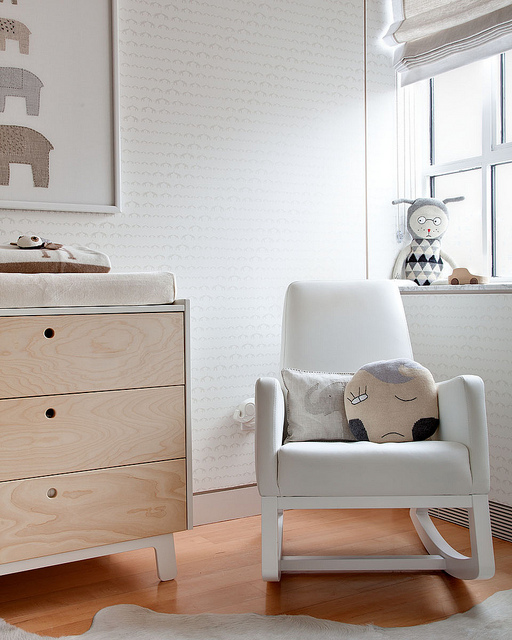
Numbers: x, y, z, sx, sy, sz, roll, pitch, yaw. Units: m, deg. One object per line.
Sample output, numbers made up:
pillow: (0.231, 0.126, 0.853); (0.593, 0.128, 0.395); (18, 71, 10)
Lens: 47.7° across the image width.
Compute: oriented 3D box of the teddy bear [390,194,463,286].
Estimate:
teddy bear: (0.697, -0.320, 2.400); (0.278, 0.291, 0.278); (-2, -1, 11)

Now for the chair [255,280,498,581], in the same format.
chair: (0.299, 0.294, 1.651); (0.565, 0.633, 0.574); (-2, -1, 4)

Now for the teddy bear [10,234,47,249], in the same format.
teddy bear: (-0.603, -0.202, 1.522); (0.084, 0.036, 0.048); (-1, -1, -16)
